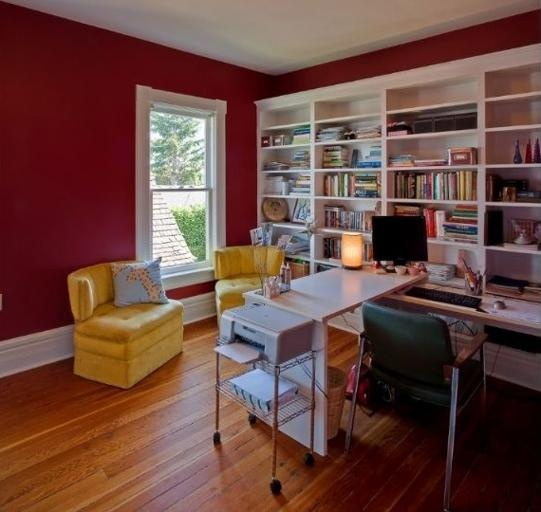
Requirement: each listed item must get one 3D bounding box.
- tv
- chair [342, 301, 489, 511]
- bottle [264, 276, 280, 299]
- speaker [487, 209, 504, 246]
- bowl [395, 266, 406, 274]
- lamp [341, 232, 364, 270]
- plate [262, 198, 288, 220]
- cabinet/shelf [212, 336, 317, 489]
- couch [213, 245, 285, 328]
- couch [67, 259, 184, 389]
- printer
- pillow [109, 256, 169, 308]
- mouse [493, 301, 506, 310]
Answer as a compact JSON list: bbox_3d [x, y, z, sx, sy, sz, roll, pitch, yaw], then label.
[{"bbox_3d":[1.025,-0.101,3.500,0.411,0.430,0.139,0,-3,6],"label":"tv"},{"bbox_3d":[0.845,0.703,2.579,0.685,0.959,0.707,10,16,38],"label":"chair"},{"bbox_3d":[0.004,0.207,2.897,0.120,0.153,0.110,0,5,0],"label":"bottle"},{"bbox_3d":[1.833,-0.235,3.568,0.276,0.263,0.093,-13,17,-43],"label":"speaker"},{"bbox_3d":[1.022,0.107,3.416,0.059,0.043,0.061,0,5,0],"label":"bowl"},{"bbox_3d":[0.671,-0.050,3.610,0.232,0.415,0.250,1,6,15],"label":"lamp"},{"bbox_3d":[0.055,-0.572,5.380,0.257,0.290,0.083,8,-4,-24],"label":"plate"},{"bbox_3d":[-0.038,0.810,2.732,0.740,0.866,0.534,8,10,41],"label":"cabinet/shelf"},{"bbox_3d":[-0.235,0.284,4.678,0.740,0.859,0.757,-1,0,-11],"label":"couch"},{"bbox_3d":[-1.209,0.532,3.862,0.801,1.034,1.003,3,7,25],"label":"couch"},{"bbox_3d":[-0.037,0.454,2.607,0.519,0.219,0.359,12,18,40],"label":"printer"},{"bbox_3d":[-1.195,0.233,3.897,0.368,0.387,0.138,-3,-17,-19],"label":"pillow"},{"bbox_3d":[1.534,0.327,2.921,0.053,0.030,0.057,-1,9,20],"label":"mouse"}]
